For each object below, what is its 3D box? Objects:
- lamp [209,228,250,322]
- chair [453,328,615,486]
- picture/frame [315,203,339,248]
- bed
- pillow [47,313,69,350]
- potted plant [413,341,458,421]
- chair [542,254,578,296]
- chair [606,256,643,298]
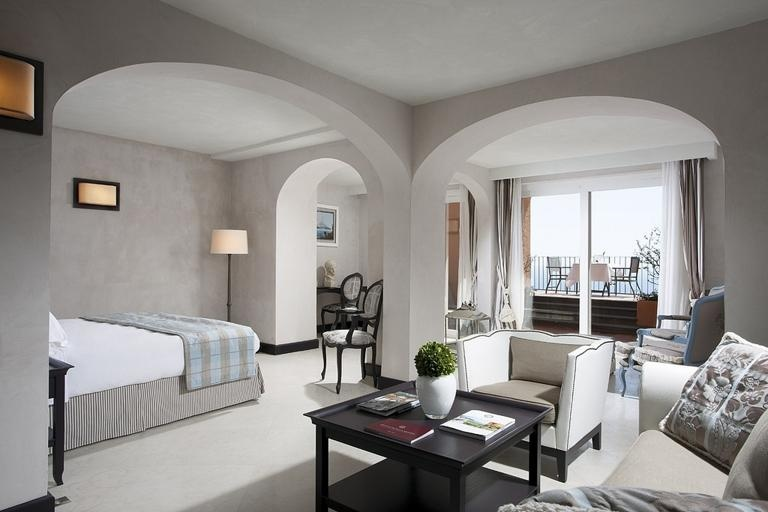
[{"bbox_3d":[-2.322,0.330,7.479,0.519,1.454,0.717,-2,9,-15],"label":"lamp"},{"bbox_3d":[1.299,1.076,4.419,1.300,1.264,1.096,-4,-5,40],"label":"chair"},{"bbox_3d":[-1.094,-0.556,9.184,0.061,0.853,0.883,-3,-4,32],"label":"picture/frame"},{"bbox_3d":[-2.212,1.100,4.819,1.400,0.581,1.439,0,-2,42],"label":"bed"},{"bbox_3d":[-2.846,0.653,4.272,0.122,0.253,0.412,-5,10,-32],"label":"pillow"},{"bbox_3d":[0.379,0.901,3.556,0.335,0.496,0.357,-1,-7,-8],"label":"potted plant"},{"bbox_3d":[2.841,0.313,8.008,0.492,0.817,0.510,1,-2,-35],"label":"chair"},{"bbox_3d":[3.646,0.335,7.515,0.510,0.824,0.467,1,-1,42],"label":"chair"}]
